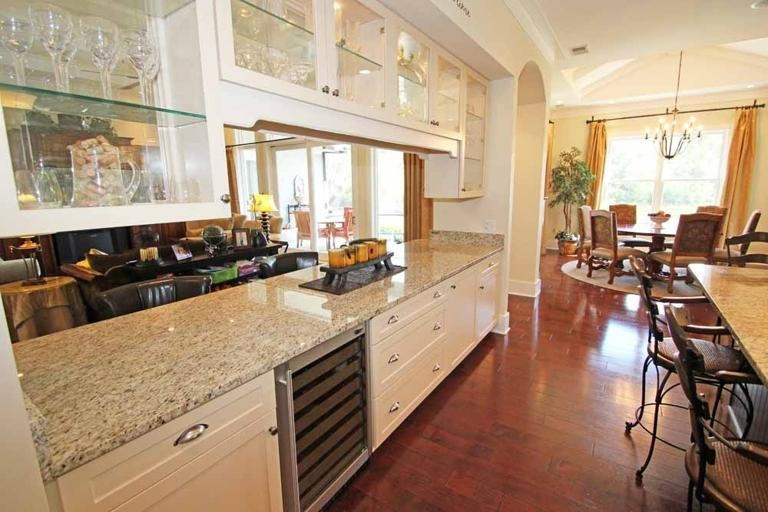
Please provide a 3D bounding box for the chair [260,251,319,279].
[{"bbox_3d":[-0.811,0.073,4.161,0.311,0.361,0.316,-11,12,-42],"label":"chair"}]

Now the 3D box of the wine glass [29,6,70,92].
[{"bbox_3d":[-1.600,-1.009,2.377,0.174,0.390,0.070,-7,12,-32],"label":"wine glass"}]

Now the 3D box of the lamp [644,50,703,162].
[{"bbox_3d":[4.721,-2.475,7.904,0.855,1.888,0.779,3,31,18],"label":"lamp"}]

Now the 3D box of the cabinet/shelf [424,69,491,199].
[{"bbox_3d":[0.656,-1.141,4.476,0.352,1.033,1.058,6,15,27],"label":"cabinet/shelf"}]

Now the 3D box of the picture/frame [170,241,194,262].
[{"bbox_3d":[-2.282,-0.048,5.528,0.101,0.229,0.244,-26,-1,17],"label":"picture/frame"}]

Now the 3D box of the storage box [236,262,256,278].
[{"bbox_3d":[-1.570,0.151,5.538,0.135,0.069,0.178,7,14,34],"label":"storage box"}]

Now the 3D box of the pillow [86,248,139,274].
[{"bbox_3d":[-2.773,0.024,4.868,0.318,0.216,0.404,-14,-7,-41],"label":"pillow"}]

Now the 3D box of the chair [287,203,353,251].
[{"bbox_3d":[-1.075,-0.474,8.656,0.918,0.753,1.499,-3,9,-13],"label":"chair"}]

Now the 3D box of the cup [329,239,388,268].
[{"bbox_3d":[-0.184,-0.029,3.636,0.153,0.158,0.544,5,10,35],"label":"cup"}]

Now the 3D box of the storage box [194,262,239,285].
[{"bbox_3d":[-1.830,0.173,5.251,0.461,0.157,0.358,5,12,34],"label":"storage box"}]
